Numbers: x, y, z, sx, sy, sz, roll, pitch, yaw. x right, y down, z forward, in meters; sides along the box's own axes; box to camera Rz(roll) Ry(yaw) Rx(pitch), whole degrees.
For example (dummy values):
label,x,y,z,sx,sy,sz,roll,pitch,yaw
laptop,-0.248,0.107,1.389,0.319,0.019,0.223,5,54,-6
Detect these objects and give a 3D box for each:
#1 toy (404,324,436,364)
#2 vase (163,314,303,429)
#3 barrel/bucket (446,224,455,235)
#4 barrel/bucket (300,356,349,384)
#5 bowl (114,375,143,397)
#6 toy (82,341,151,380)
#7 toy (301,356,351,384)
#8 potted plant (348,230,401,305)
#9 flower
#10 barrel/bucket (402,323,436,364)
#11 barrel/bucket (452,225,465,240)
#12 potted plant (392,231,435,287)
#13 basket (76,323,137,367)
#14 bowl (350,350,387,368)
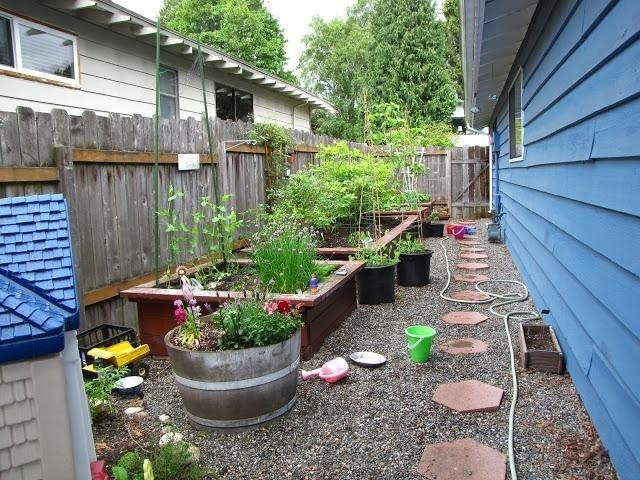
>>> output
label,x,y,z,sx,sy,sz,roll,pitch,yaw
toy,0.714,0.757,3.314,0.233,0.220,0.258,2,4,-7
vase,-0.489,0.887,2.907,0.749,0.491,0.787,-6,0,21
barrel/bucket,2.732,-0.226,9.565,0.172,0.241,0.244,0,1,-34
barrel/bucket,0.038,0.926,3.120,0.254,0.092,0.161,-14,32,5
bowl,-1.289,0.996,2.995,0.193,0.072,0.192,1,-3,0
toy,-1.455,0.857,3.262,0.237,0.203,0.330,3,9,30
toy,0.035,0.927,3.124,0.252,0.094,0.162,-12,33,6
potted plant,0.559,0.354,4.866,0.557,0.674,0.612,-1,5,-4
flower,-0.468,0.531,2.813,0.686,0.285,0.664,13,13,8
barrel/bucket,0.707,0.772,3.350,0.235,0.217,0.255,3,5,0
barrel/bucket,2.767,-0.146,9.052,0.263,0.233,0.267,1,-4,0
potted plant,1.097,0.264,5.444,0.487,0.409,0.525,0,4,1
basket,-1.679,0.793,3.462,0.237,0.217,0.337,1,8,26
bowl,0.354,0.893,3.364,0.258,0.050,0.244,-3,11,1
